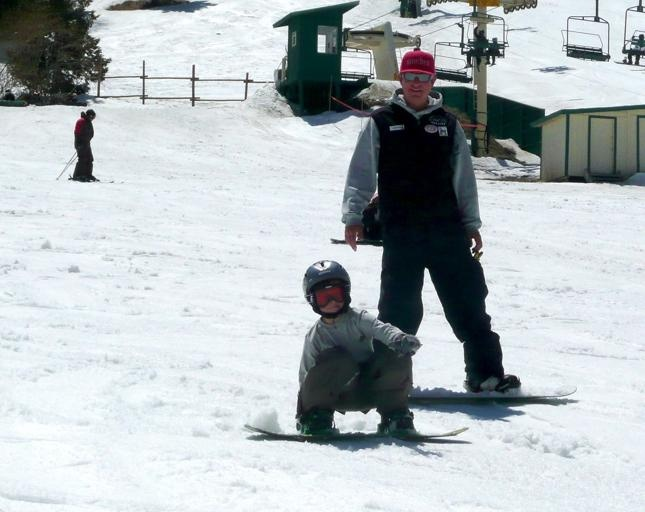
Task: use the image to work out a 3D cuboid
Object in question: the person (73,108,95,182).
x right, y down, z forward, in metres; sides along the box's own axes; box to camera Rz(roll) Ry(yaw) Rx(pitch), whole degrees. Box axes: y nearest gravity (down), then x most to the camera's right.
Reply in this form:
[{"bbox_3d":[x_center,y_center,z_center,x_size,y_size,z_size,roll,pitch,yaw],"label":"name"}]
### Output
[{"bbox_3d":[-5.862,-2.719,31.994,0.592,1.707,1.065,0,7,-11],"label":"person"}]
